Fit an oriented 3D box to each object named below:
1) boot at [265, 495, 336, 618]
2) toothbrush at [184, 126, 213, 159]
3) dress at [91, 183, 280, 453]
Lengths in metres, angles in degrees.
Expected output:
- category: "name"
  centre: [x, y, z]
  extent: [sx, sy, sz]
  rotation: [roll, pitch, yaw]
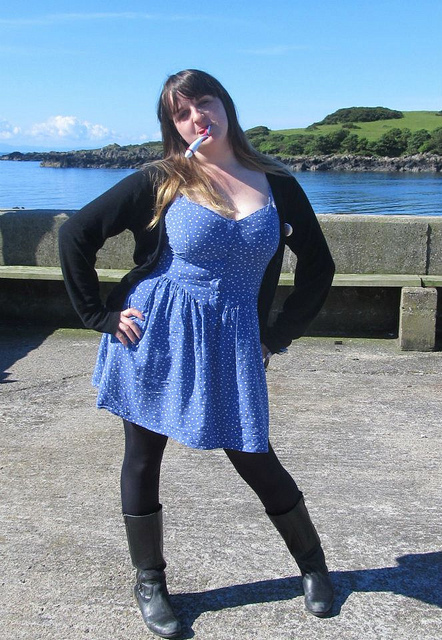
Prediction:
- category: "boot"
  centre: [0.284, 0.776, 2.074]
  extent: [0.198, 0.314, 0.423]
  rotation: [-3, 13, -3]
- category: "toothbrush"
  centre: [-0.067, -0.532, 1.879]
  extent: [0.026, 0.036, 0.125]
  rotation: [25, 66, 43]
- category: "dress"
  centre: [-0.141, -0.036, 2.005]
  extent: [0.647, 0.827, 0.441]
  rotation: [11, -6, -28]
